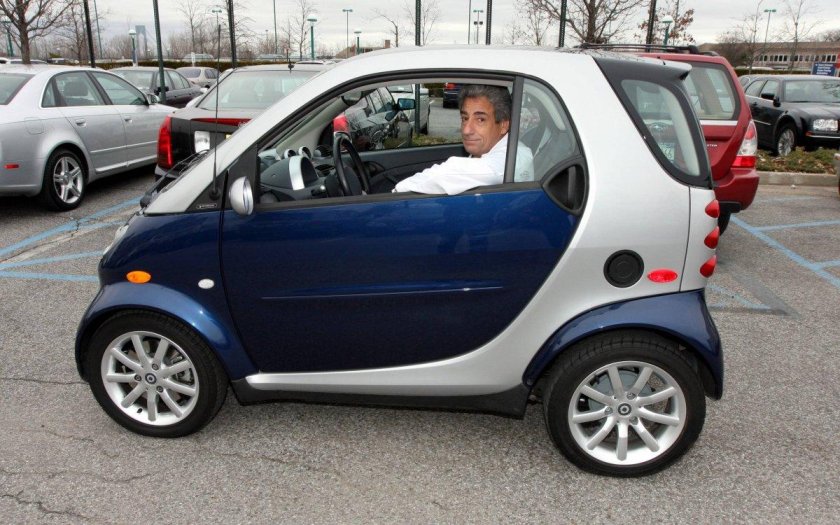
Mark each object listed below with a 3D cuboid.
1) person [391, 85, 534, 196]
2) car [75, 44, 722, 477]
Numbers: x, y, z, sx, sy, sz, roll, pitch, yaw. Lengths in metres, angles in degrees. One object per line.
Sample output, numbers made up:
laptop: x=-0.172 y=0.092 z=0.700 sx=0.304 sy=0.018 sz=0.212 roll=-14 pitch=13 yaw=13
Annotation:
person: x=0.216 y=-0.763 z=3.602 sx=0.992 sy=0.652 sz=0.630 roll=-22 pitch=37 yaw=-29
car: x=0.037 y=-0.334 z=4.424 sx=4.226 sy=2.296 sz=2.395 roll=3 pitch=13 yaw=6
